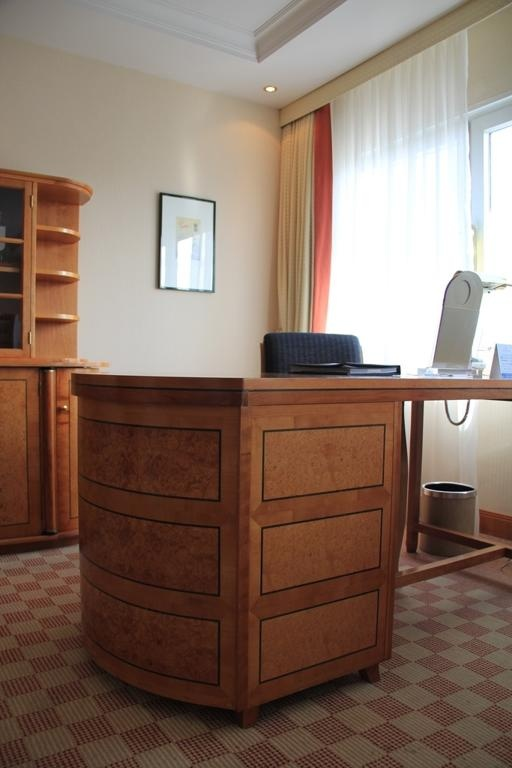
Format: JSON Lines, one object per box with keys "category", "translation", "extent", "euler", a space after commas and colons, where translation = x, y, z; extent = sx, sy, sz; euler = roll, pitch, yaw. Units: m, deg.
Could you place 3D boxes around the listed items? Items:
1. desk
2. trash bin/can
{"category": "desk", "translation": [0.080, 0.445, 1.484], "extent": [0.808, 0.485, 0.319], "euler": [-2, 3, -37]}
{"category": "trash bin/can", "translation": [0.851, 0.625, 2.713], "extent": [0.264, 0.330, 0.288], "euler": [0, -3, -1]}
